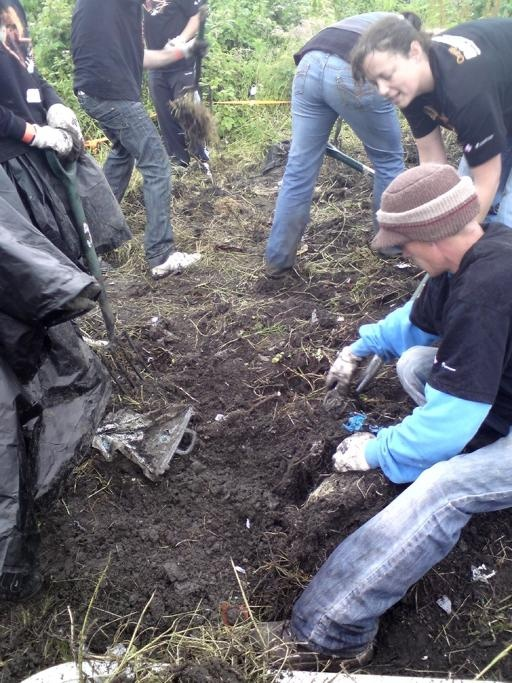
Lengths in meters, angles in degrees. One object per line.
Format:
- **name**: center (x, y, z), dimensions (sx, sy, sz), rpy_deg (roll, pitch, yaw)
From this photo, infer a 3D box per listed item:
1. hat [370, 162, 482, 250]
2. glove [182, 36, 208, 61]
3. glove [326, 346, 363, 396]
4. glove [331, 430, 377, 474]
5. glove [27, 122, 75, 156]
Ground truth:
- **hat**: center (0.505, -0.433, 1.725), dimensions (0.357, 0.204, 0.239), rpy_deg (-17, 23, 18)
- **glove**: center (-0.426, -2.007, 3.854), dimensions (0.159, 0.163, 0.157), rpy_deg (0, -5, -8)
- **glove**: center (0.383, 0.128, 2.476), dimensions (0.123, 0.216, 0.070), rpy_deg (41, 18, 22)
- **glove**: center (0.374, 0.440, 2.196), dimensions (0.071, 0.186, 0.140), rpy_deg (46, 34, -14)
- **glove**: center (-0.871, -0.861, 2.356), dimensions (0.153, 0.106, 0.058), rpy_deg (22, -1, -40)
